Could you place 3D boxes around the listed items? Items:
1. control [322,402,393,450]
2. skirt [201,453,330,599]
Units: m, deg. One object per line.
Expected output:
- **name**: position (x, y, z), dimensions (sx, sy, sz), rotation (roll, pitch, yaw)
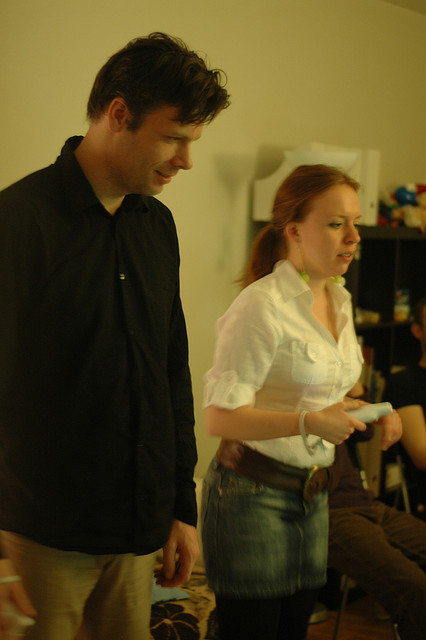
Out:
- **control**: position (0.340, 0.207, 1.359), dimensions (0.047, 0.064, 0.209), rotation (-1, 4, 34)
- **skirt**: position (0.116, 0.474, 1.397), dimensions (0.285, 0.314, 0.210), rotation (-3, 4, 7)
